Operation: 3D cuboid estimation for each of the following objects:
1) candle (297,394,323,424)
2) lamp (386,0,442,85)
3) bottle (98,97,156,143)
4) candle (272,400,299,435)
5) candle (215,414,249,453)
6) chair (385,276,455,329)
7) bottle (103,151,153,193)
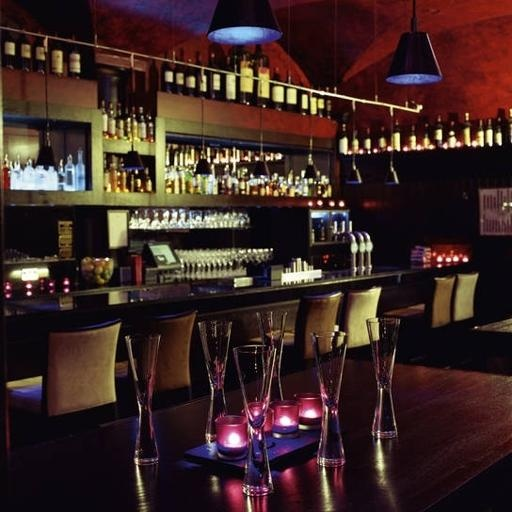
[{"bbox_3d":[0.137,0.386,1.530,0.048,0.072,0.064,0,-2,-1],"label":"candle"},{"bbox_3d":[0.937,-1.288,3.606,0.307,0.596,0.679,0,3,16],"label":"lamp"},{"bbox_3d":[-1.349,-1.347,6.050,0.352,0.436,0.644,2,4,45],"label":"bottle"},{"bbox_3d":[0.072,0.393,1.462,0.056,0.085,0.070,0,-3,12],"label":"candle"},{"bbox_3d":[-0.056,0.386,1.338,0.063,0.079,0.063,2,-3,-29],"label":"candle"},{"bbox_3d":[1.607,0.439,5.818,0.512,0.523,0.535,0,1,32],"label":"chair"},{"bbox_3d":[-1.297,-0.840,6.074,0.550,0.405,0.359,-3,3,-33],"label":"bottle"}]
